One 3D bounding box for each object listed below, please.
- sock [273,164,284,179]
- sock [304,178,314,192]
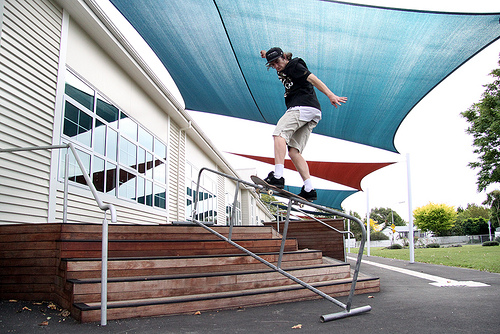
[{"bbox_3d":[0.431,0.073,4.826,0.136,0.202,0.159,-1,-12,0],"label":"sock"},{"bbox_3d":[0.886,0.277,4.876,0.122,0.189,0.197,0,-1,-2],"label":"sock"}]
